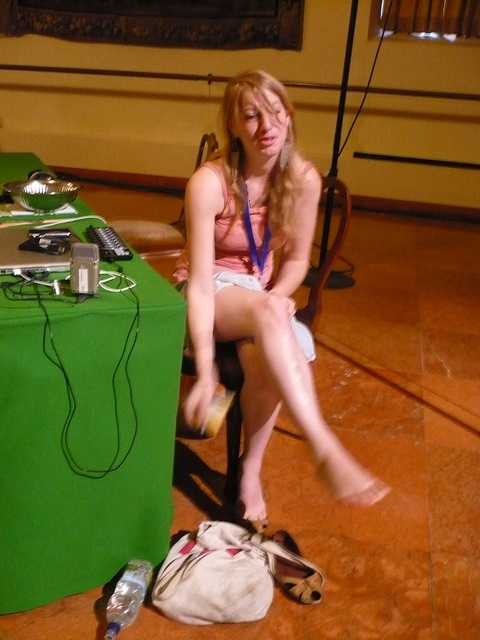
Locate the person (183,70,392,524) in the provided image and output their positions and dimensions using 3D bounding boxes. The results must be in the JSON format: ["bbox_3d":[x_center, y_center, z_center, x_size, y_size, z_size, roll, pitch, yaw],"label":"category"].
[{"bbox_3d":[0.058,0.028,1.210,0.393,1.023,0.742,0,29,-10],"label":"person"}]
